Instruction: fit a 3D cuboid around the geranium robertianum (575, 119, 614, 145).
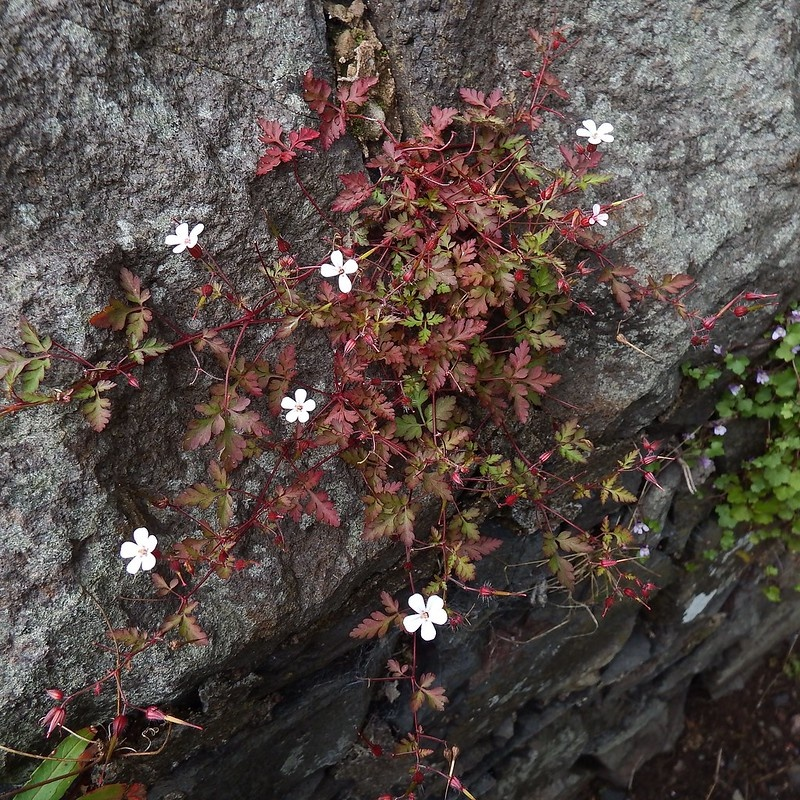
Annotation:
[{"bbox_3d":[0.718,-0.994,3.168,0.119,0.080,0.246,12,24,8],"label":"geranium robertianum"}]
